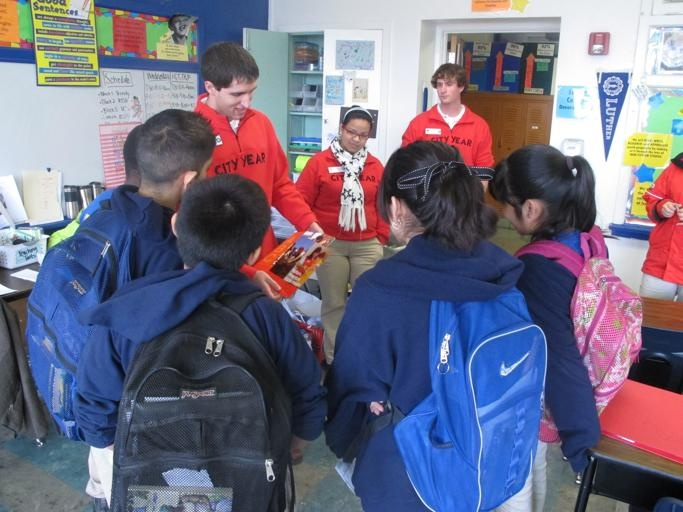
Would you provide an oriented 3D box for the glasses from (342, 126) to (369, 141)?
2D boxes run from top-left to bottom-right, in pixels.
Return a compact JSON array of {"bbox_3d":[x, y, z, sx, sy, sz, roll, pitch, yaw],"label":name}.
[{"bbox_3d":[0.094,-0.821,3.499,0.179,0.079,0.102,0,18,0],"label":"glasses"}]
